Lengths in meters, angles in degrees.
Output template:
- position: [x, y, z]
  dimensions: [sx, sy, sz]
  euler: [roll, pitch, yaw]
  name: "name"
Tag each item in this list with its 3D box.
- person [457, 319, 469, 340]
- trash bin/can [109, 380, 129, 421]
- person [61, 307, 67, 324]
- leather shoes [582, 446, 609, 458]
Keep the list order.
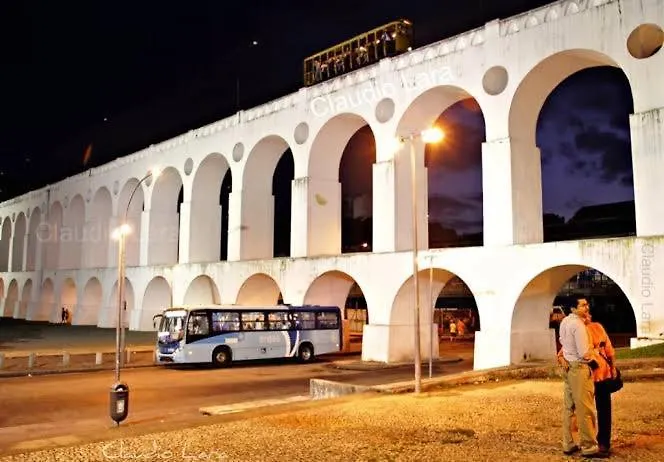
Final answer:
- position: [8.381, 6.389, 36.593]
  dimensions: [0.598, 1.227, 1.897]
  euler: [-3, -4, 19]
  name: "person"
- position: [-4.919, 4.050, 13.167]
  dimensions: [0.362, 0.965, 0.270]
  euler: [0, -4, -26]
  name: "trash bin/can"
- position: [-21.645, 7.029, 46.212]
  dimensions: [0.424, 1.217, 1.485]
  euler: [0, -5, -28]
  name: "person"
- position: [4.682, 3.956, 10.169]
  dimensions: [0.498, 0.252, 0.200]
  euler: [-1, -5, -10]
  name: "leather shoes"
